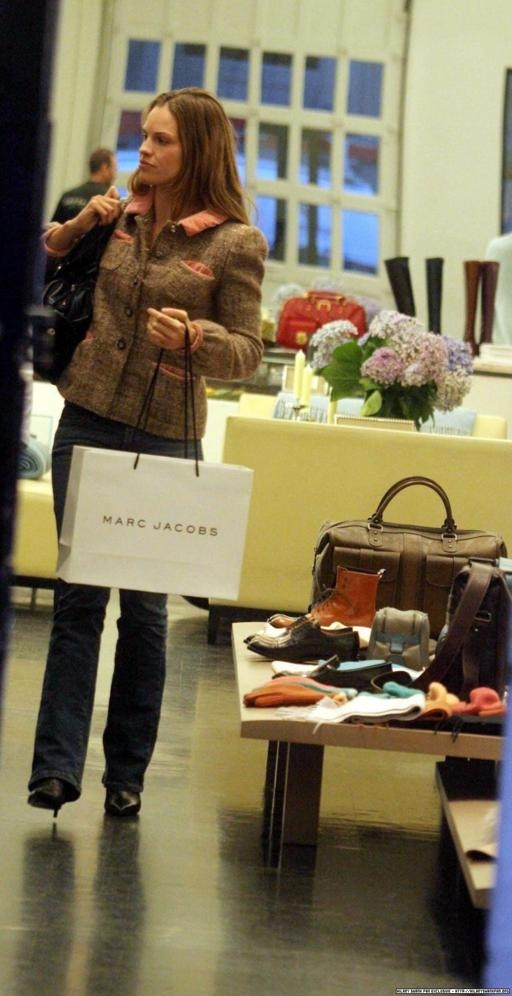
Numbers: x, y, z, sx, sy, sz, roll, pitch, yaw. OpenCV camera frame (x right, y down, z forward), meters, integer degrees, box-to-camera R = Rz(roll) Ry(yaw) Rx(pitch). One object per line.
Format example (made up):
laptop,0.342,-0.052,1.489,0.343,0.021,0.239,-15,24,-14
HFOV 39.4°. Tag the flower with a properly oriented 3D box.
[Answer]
flower,0.506,-0.465,2.780,0.502,0.404,0.531,25,17,5

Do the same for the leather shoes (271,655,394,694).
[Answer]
leather shoes,0.157,0.346,1.477,0.239,0.086,0.091,5,-7,-5

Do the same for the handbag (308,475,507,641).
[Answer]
handbag,0.432,0.156,1.930,0.359,0.347,0.202,8,-5,-2

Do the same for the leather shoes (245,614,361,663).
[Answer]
leather shoes,0.104,0.321,1.628,0.252,0.111,0.103,2,-3,-5

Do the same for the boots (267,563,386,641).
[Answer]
boots,0.171,0.245,1.770,0.260,0.184,0.098,-1,19,3
